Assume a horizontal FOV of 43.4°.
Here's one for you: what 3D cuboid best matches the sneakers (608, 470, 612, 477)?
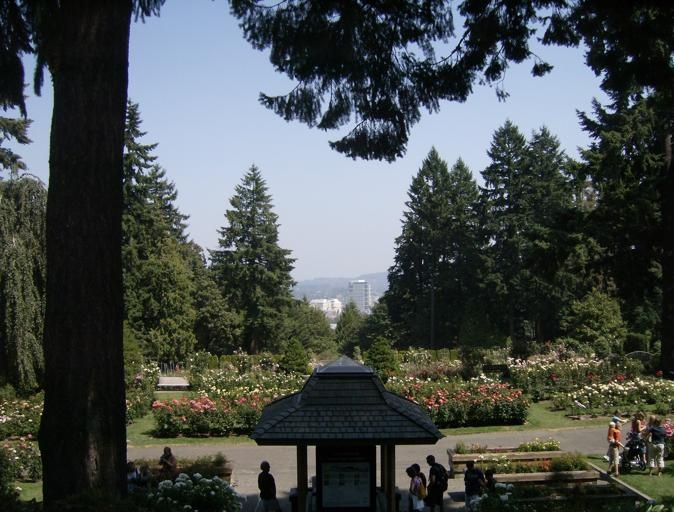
[{"bbox_3d":[8.119,6.421,25.215,0.096,0.136,0.250,-6,-5,8],"label":"sneakers"}]

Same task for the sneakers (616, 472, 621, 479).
[{"bbox_3d":[8.315,6.450,25.137,0.067,0.117,0.248,-2,-7,7],"label":"sneakers"}]

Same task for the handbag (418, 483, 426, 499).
[{"bbox_3d":[2.348,6.347,23.053,0.164,0.406,0.334,-4,-7,23],"label":"handbag"}]

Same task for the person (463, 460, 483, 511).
[{"bbox_3d":[3.764,6.193,23.173,0.538,1.193,1.008,-2,-7,10],"label":"person"}]

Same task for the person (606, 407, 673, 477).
[{"bbox_3d":[9.009,5.562,25.390,1.625,1.762,1.093,-3,-7,15],"label":"person"}]

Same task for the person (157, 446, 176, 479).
[{"bbox_3d":[-4.702,5.707,23.659,0.456,0.814,0.928,0,-8,-13],"label":"person"}]

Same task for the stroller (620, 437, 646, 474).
[{"bbox_3d":[8.918,5.953,25.502,0.581,1.064,0.939,0,4,0],"label":"stroller"}]
